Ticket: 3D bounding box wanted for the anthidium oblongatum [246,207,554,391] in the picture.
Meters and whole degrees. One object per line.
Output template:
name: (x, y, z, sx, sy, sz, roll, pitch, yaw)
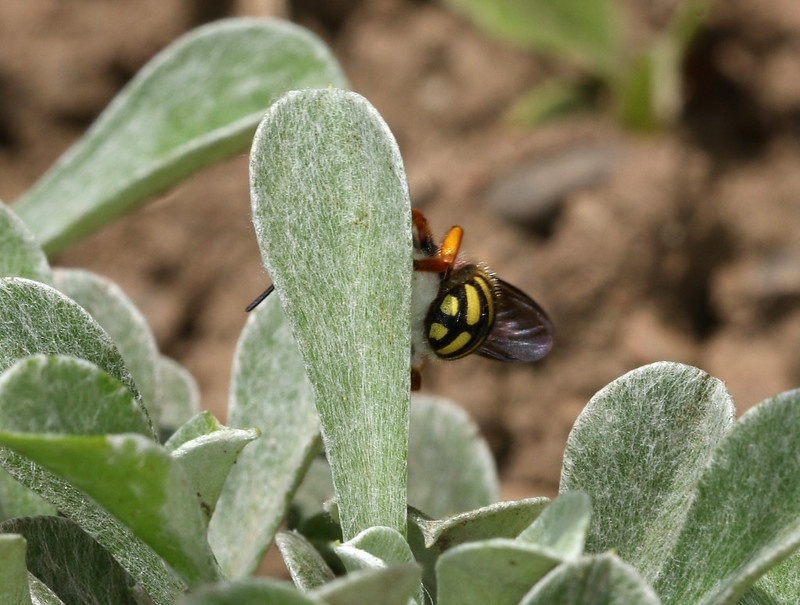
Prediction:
anthidium oblongatum: (0.049, -0.006, 1.460, 0.319, 0.229, 0.091, -11, 39, -25)
